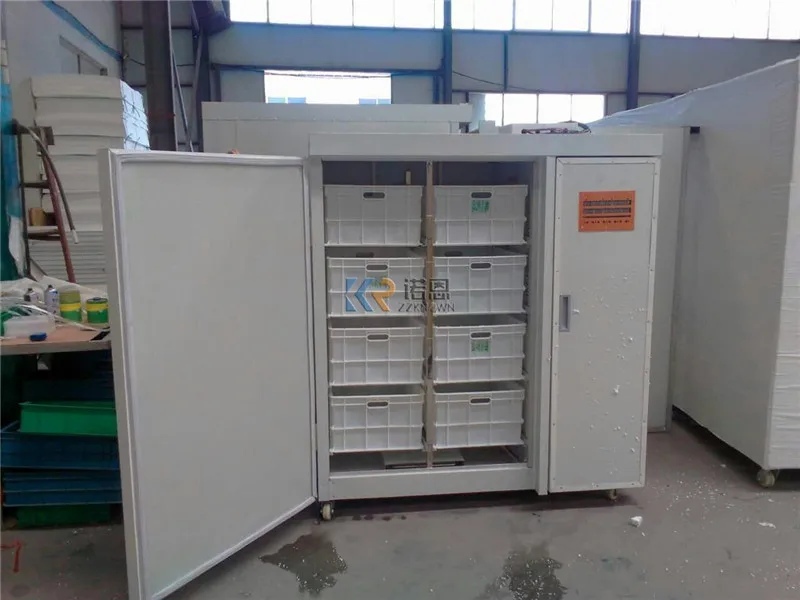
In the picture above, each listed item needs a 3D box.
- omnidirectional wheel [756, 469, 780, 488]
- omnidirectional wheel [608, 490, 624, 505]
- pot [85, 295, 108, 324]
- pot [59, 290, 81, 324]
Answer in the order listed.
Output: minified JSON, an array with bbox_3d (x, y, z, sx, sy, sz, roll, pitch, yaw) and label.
[{"bbox_3d":[2.277,1.094,4.243,0.124,0.133,0.095,-1,-6,37],"label":"omnidirectional wheel"},{"bbox_3d":[1.306,1.192,4.172,0.054,0.054,0.074,0,1,1],"label":"omnidirectional wheel"},{"bbox_3d":[-1.712,0.057,3.866,0.141,0.148,0.146,0,3,0],"label":"pot"},{"bbox_3d":[-1.877,0.036,3.894,0.118,0.172,0.172,-6,8,-27],"label":"pot"}]
